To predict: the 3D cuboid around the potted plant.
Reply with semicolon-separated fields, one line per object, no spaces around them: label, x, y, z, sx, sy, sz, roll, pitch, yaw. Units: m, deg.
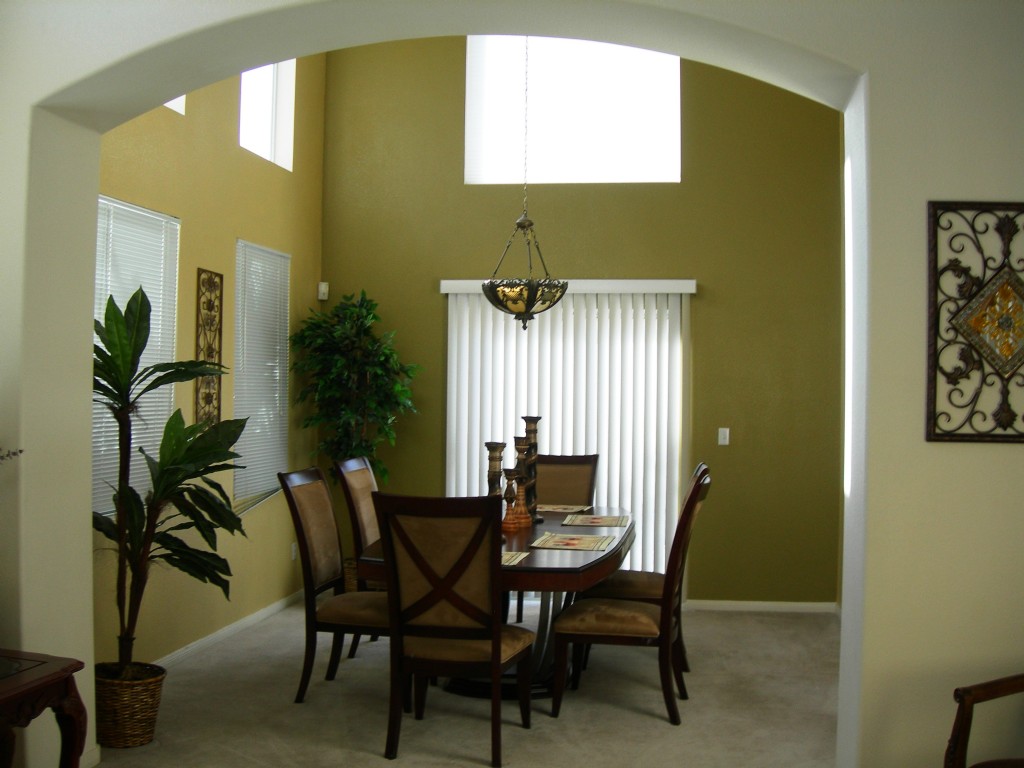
potted plant;-1.817;0.596;4.507;0.708;2.170;1.013;-1;5;-26
